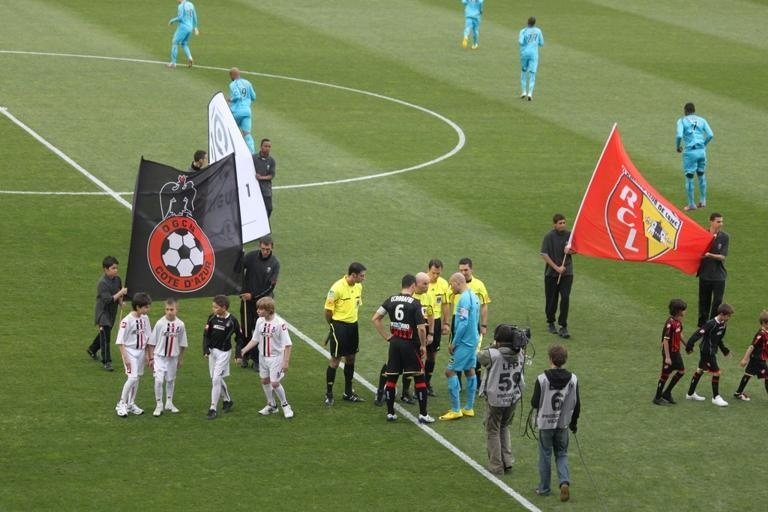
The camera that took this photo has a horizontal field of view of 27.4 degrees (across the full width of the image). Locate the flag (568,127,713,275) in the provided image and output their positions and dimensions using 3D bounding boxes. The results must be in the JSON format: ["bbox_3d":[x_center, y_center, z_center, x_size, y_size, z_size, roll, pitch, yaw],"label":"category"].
[{"bbox_3d":[6.753,-1.424,41.828,3.170,3.443,0.545,7,10,5],"label":"flag"}]

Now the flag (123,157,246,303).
[{"bbox_3d":[-4.928,-0.550,39.513,4.996,4.884,0.594,1,-4,-22],"label":"flag"}]

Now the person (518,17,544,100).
[{"bbox_3d":[5.360,-7.254,57.103,1.205,3.022,1.533,5,14,10],"label":"person"}]

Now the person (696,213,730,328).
[{"bbox_3d":[9.054,0.291,42.542,1.037,2.876,0.812,-1,1,0],"label":"person"}]

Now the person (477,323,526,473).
[{"bbox_3d":[2.757,3.416,37.481,1.100,3.542,0.692,7,10,2],"label":"person"}]

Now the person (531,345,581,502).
[{"bbox_3d":[4.026,3.914,36.817,1.191,3.588,0.680,8,10,9],"label":"person"}]

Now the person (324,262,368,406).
[{"bbox_3d":[-1.034,1.952,39.619,1.282,3.481,1.456,-1,1,36],"label":"person"}]
